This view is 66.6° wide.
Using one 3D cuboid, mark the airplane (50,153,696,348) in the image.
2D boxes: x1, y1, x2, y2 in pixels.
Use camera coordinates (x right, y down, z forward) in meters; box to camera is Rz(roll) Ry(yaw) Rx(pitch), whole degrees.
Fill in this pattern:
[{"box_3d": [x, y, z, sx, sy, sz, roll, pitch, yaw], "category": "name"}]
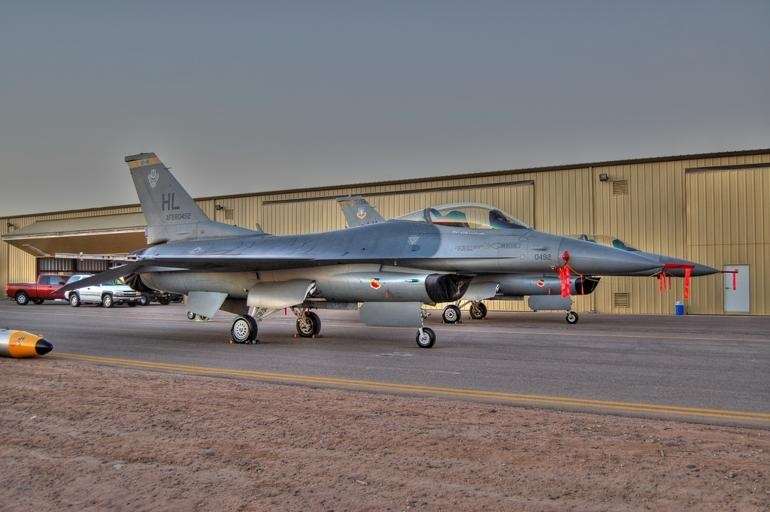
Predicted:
[{"box_3d": [-0.766, 0.237, 15.543, 12.779, 2.575, 8.506, -1, -2, 10], "category": "airplane"}]
